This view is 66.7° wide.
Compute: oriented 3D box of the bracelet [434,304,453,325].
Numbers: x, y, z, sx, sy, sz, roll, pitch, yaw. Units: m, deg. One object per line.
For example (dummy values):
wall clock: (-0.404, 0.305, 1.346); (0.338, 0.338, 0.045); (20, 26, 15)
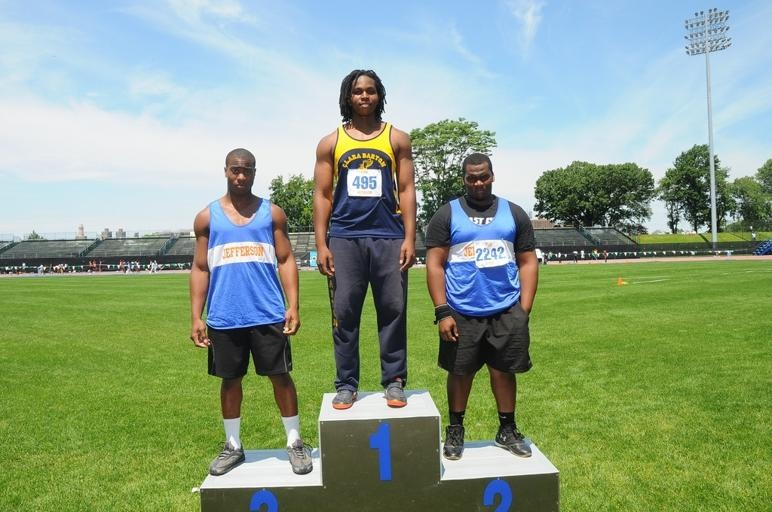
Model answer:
bracelet: (0.631, 0.662, 6.603); (0.194, 0.163, 0.216); (-11, -2, -9)

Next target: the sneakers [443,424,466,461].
sneakers: (0.727, 2.019, 6.330); (0.221, 0.349, 0.220); (-1, 0, 5)

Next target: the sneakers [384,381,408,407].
sneakers: (0.105, 1.510, 6.373); (0.239, 0.256, 0.381); (-1, 0, -1)

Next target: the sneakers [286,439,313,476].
sneakers: (-0.897, 2.128, 6.187); (0.232, 0.340, 0.276); (-1, 0, -21)

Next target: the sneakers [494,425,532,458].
sneakers: (1.377, 2.005, 6.342); (0.375, 0.300, 0.231); (-1, 0, 11)

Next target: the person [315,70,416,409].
person: (-0.247, -0.276, 6.681); (1.171, 3.752, 0.646); (-1, 0, 0)

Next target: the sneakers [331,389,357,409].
sneakers: (-0.447, 1.559, 6.368); (0.262, 0.186, 0.310); (-1, 0, -4)

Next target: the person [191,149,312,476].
person: (-1.521, 0.542, 6.444); (1.325, 3.665, 0.826); (-1, 0, -6)
